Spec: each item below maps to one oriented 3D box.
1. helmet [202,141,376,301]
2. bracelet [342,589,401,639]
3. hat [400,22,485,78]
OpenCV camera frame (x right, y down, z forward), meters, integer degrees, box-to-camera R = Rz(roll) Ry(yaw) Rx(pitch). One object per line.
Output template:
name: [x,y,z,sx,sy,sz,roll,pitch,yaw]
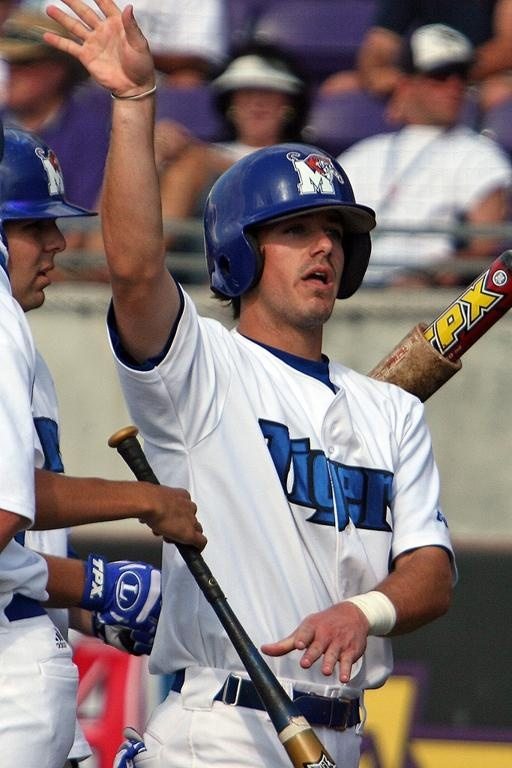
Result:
helmet: [0.062,-0.498,4.468,0.427,0.439,0.577,7,-16,-29]
bracelet: [0.316,0.604,3.856,0.107,0.099,0.129,-37,-3,24]
hat: [0.929,-1.673,7.309,0.351,0.262,0.248,-15,-24,16]
